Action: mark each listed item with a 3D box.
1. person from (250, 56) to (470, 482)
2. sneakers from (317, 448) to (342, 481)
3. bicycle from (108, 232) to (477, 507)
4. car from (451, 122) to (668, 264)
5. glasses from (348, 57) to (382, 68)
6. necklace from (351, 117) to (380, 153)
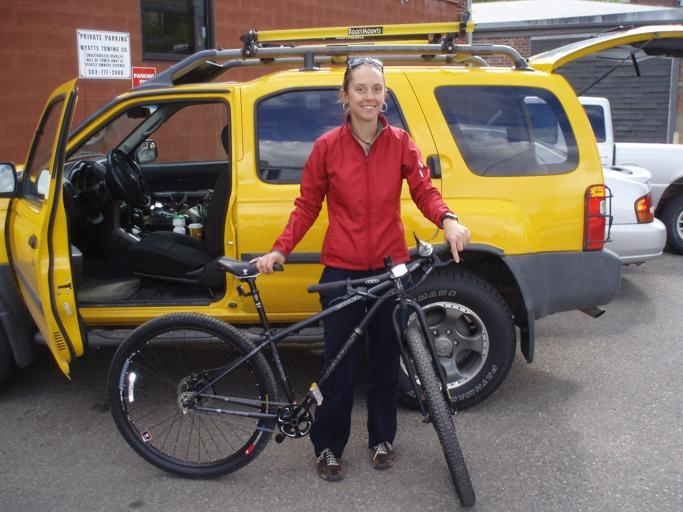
[{"bbox_3d":[0.120,0.124,3.797,1.081,2.557,0.473,0,16,0],"label":"person"},{"bbox_3d":[-0.087,1.342,3.987,0.096,0.107,0.239,0,-5,-18],"label":"sneakers"},{"bbox_3d":[-0.385,0.574,4.293,2.327,1.565,1.279,-1,8,-1],"label":"bicycle"},{"bbox_3d":[2.608,-0.603,6.486,2.186,1.086,1.265,3,4,1],"label":"car"},{"bbox_3d":[0.129,-1.126,3.608,0.190,0.060,0.159,-1,17,-1],"label":"glasses"},{"bbox_3d":[0.130,-0.709,3.619,0.130,0.200,0.047,-1,-4,-4],"label":"necklace"}]
